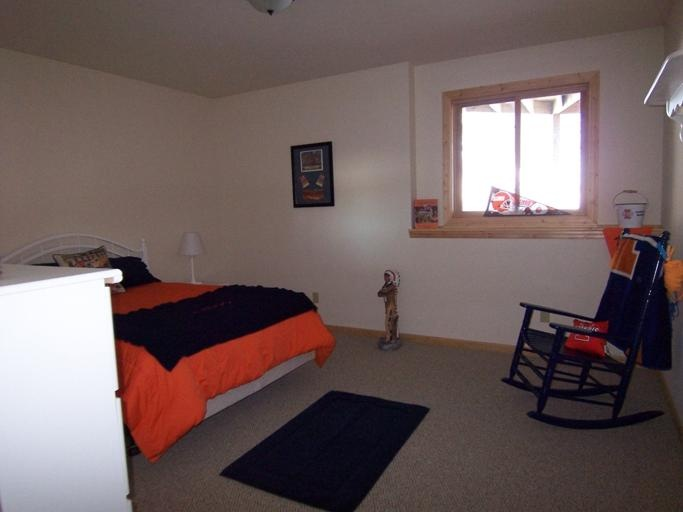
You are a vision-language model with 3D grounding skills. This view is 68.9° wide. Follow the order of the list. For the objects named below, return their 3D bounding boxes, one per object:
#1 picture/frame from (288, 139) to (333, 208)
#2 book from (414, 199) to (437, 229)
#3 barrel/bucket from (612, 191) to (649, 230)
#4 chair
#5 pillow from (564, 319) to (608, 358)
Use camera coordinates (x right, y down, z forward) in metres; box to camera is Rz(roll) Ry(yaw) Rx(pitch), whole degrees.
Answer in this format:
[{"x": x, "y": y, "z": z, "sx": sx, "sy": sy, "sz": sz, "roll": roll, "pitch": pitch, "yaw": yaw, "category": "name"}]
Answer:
[{"x": -0.337, "y": -0.975, "z": 5.757, "sx": 0.666, "sy": 0.924, "sz": 0.063, "roll": 4, "pitch": 12, "yaw": 27, "category": "picture/frame"}, {"x": 0.901, "y": -0.444, "z": 5.254, "sx": 0.263, "sy": 0.347, "sz": 0.047, "roll": 2, "pitch": 5, "yaw": 22, "category": "book"}, {"x": 2.614, "y": -0.421, "z": 4.502, "sx": 0.325, "sy": 0.378, "sz": 0.293, "roll": 0, "pitch": 0, "yaw": -4, "category": "barrel/bucket"}, {"x": 1.864, "y": 0.496, "z": 3.794, "sx": 1.081, "sy": 1.554, "sz": 0.873, "roll": 2, "pitch": 9, "yaw": -13, "category": "chair"}, {"x": 1.805, "y": 0.574, "z": 3.653, "sx": 0.271, "sy": 0.222, "sz": 0.502, "roll": 6, "pitch": 15, "yaw": 28, "category": "pillow"}]
